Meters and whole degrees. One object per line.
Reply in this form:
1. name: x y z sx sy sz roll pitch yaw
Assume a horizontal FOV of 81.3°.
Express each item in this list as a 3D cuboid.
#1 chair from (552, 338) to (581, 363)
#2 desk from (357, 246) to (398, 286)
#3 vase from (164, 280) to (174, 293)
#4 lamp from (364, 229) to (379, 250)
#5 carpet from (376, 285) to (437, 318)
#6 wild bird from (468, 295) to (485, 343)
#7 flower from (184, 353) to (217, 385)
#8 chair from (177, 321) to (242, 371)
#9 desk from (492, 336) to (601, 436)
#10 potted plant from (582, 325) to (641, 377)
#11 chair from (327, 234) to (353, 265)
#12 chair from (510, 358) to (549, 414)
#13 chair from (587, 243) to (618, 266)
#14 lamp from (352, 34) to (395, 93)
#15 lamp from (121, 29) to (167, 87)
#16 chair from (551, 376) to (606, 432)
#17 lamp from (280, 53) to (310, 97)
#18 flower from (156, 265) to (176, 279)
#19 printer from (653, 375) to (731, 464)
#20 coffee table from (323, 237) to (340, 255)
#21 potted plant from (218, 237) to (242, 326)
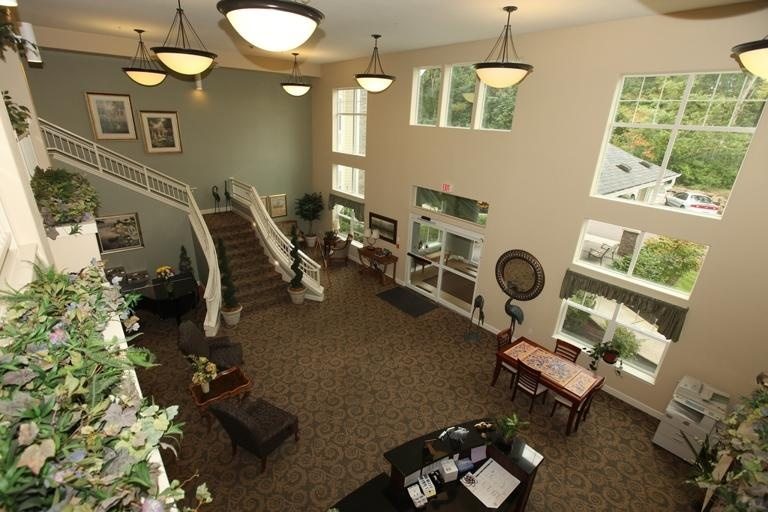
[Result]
1. chair: 4.297 2.209 10.452 0.307 0.563 0.360 16 35 34
2. desk: -0.231 0.206 15.068 0.682 1.007 1.689 -16 29 -38
3. vase: -5.652 0.784 11.721 0.209 0.245 0.208 -9 32 -25
4. lamp: -0.411 -0.585 15.290 0.283 0.744 0.565 -5 14 -36
5. carpet: 0.731 1.330 13.675 1.247 0.035 1.835 -16 29 -39
6. wild bird: 2.535 1.643 12.122 0.469 1.208 0.479 8 -7 1
7. flower: -3.880 2.392 9.494 0.568 0.602 0.582 21 27 38
8. chair: -3.991 1.712 10.125 1.309 1.531 1.047 -4 50 -12
9. desk: 3.578 2.819 10.075 1.178 1.136 1.994 -20 37 -41
10. potted plant: 5.232 2.108 10.334 0.905 0.945 0.659 -19 38 7
11. chair: -1.674 -0.164 16.452 0.911 0.979 0.925 -7 12 -41
12. chair: 3.251 2.766 9.895 0.708 1.107 0.611 -12 27 -40
13. chair: 4.966 -0.056 10.170 0.386 0.435 0.459 -22 32 -27
14. lamp: -0.198 -4.411 10.189 1.225 1.210 1.246 5 16 4
15. lamp: -5.399 -4.458 9.957 0.882 1.113 0.894 -2 20 -18
16. chair: 4.073 3.125 9.442 0.617 1.069 0.640 -26 42 -36
17. lamp: -2.566 -5.287 13.016 0.876 1.226 0.884 0 12 -6
18. flower: -5.989 0.460 12.299 0.470 0.408 0.483 5 9 28
19. printer: 6.272 3.322 9.091 1.054 1.321 0.890 -17 30 -40
20. coffee table: -1.955 -0.256 16.186 0.596 0.619 0.592 -10 31 -23
21. potted plant: -4.193 0.608 12.054 0.523 2.219 1.188 -5 24 -18
